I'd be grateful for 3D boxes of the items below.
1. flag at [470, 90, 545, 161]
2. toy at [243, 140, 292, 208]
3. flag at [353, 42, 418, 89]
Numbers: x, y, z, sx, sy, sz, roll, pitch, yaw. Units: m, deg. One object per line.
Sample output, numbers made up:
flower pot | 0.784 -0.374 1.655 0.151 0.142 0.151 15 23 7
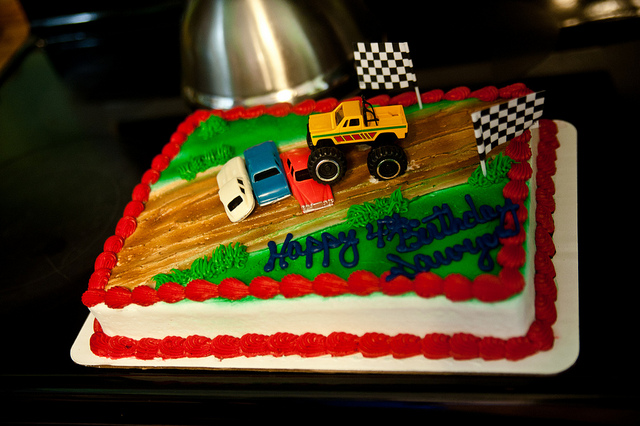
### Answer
flag | 1.925 -0.890 5.814 0.878 0.704 0.207 -30 47 -17
toy | -0.583 -0.431 6.244 0.385 0.270 0.811 -20 70 3
flag | 0.720 -1.690 6.432 0.755 0.614 0.016 13 47 37
